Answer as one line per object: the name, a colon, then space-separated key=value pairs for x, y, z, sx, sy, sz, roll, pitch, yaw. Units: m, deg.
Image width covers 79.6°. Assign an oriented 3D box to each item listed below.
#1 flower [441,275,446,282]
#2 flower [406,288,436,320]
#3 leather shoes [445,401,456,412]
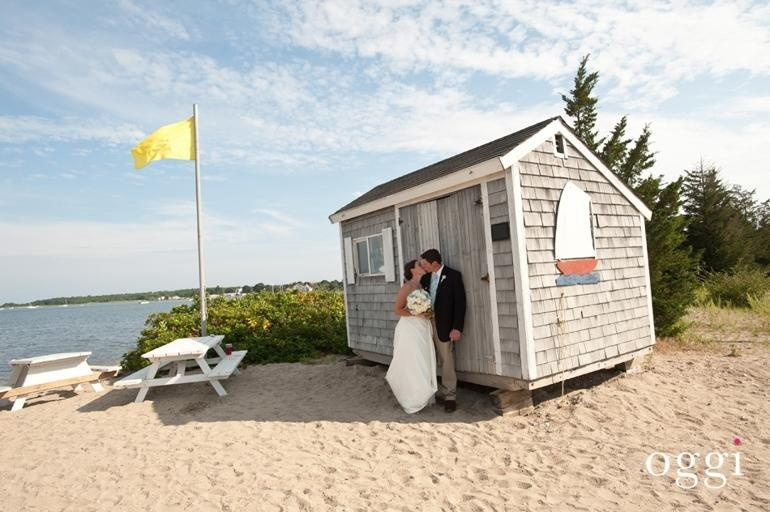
flower: x=1.225 y=0.468 z=9.555 sx=0.035 sy=0.111 sz=0.127 roll=14 pitch=-15 yaw=-31
flower: x=0.719 y=0.990 z=9.487 sx=0.504 sy=0.584 sz=0.361 roll=-2 pitch=11 yaw=3
leather shoes: x=1.351 y=3.033 z=9.402 sx=0.245 sy=0.203 sz=0.222 roll=-2 pitch=11 yaw=1
